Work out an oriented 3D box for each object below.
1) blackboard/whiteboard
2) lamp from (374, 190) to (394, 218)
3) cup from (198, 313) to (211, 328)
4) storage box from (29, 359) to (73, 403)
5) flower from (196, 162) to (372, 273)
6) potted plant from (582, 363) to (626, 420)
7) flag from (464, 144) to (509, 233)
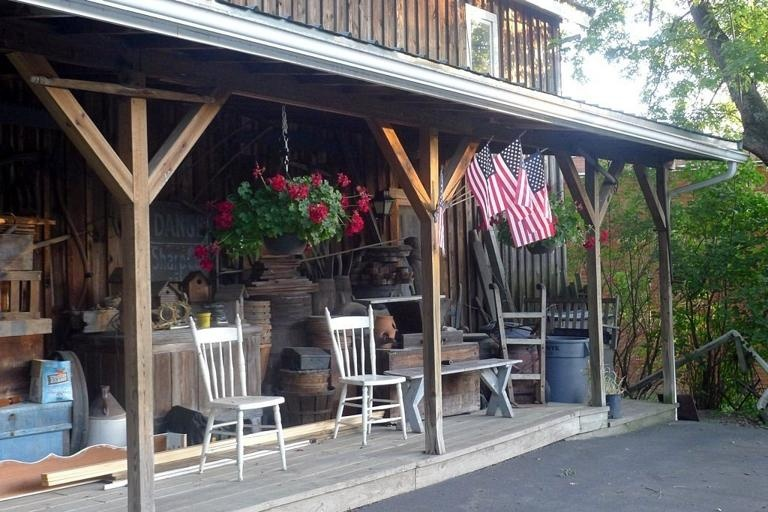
[{"bbox_3d":[-2.114,-0.140,7.932,0.101,0.870,0.809,-3,-3,42],"label":"blackboard/whiteboard"},{"bbox_3d":[-0.018,-0.628,10.309,0.269,0.380,0.254,2,-5,-29],"label":"lamp"},{"bbox_3d":[-1.754,0.636,8.399,0.118,0.139,0.126,0,-2,0],"label":"cup"},{"bbox_3d":[-2.875,1.113,7.536,0.323,0.487,0.366,-7,-9,32],"label":"storage box"},{"bbox_3d":[-1.177,-0.411,8.138,1.058,0.616,1.009,-18,1,27],"label":"flower"},{"bbox_3d":[2.614,1.601,10.073,0.408,0.722,0.650,6,-11,-42],"label":"potted plant"},{"bbox_3d":[1.001,-0.725,8.432,0.371,0.813,0.321,-2,-7,-14],"label":"flag"}]
